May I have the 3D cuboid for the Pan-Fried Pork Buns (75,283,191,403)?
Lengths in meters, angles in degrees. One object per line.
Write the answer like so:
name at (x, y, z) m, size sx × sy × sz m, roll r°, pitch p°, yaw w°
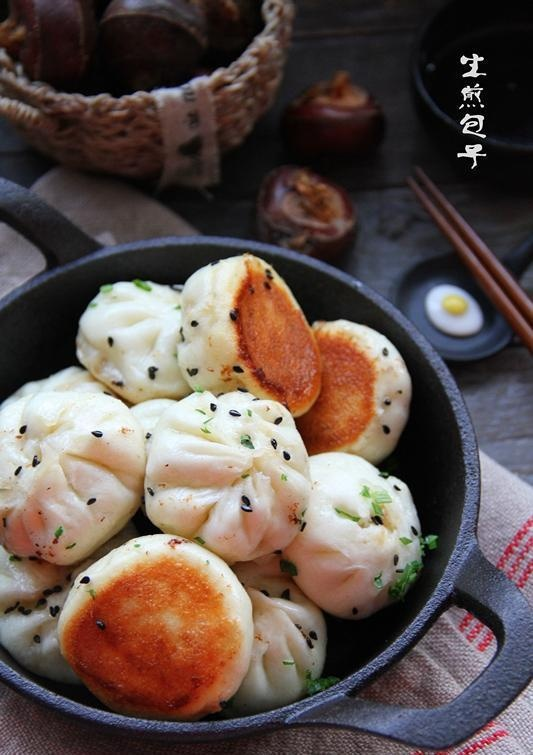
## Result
Pan-Fried Pork Buns at (-0.259, -0.076, 1.497) m, size 0.268 × 0.074 × 0.219 m, roll 10°, pitch 66°, yaw -17°

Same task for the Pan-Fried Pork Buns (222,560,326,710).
Pan-Fried Pork Buns at (0.028, 0.457, 1.361) m, size 0.242 × 0.088 × 0.227 m, roll -3°, pitch 57°, yaw -4°
